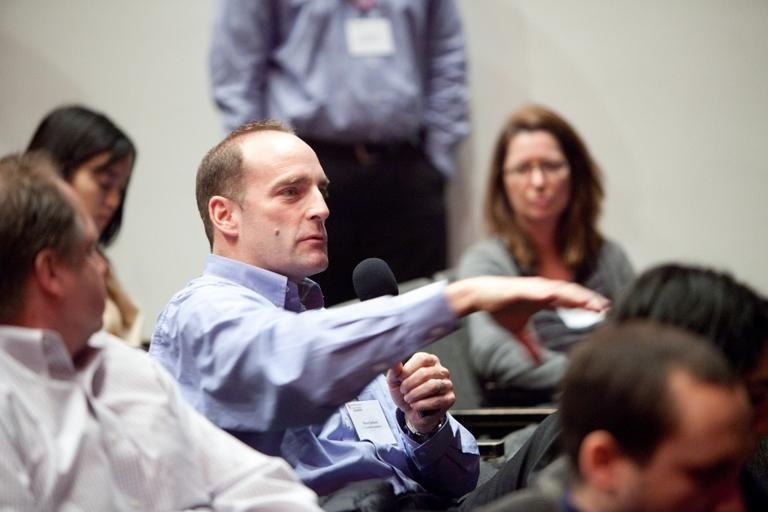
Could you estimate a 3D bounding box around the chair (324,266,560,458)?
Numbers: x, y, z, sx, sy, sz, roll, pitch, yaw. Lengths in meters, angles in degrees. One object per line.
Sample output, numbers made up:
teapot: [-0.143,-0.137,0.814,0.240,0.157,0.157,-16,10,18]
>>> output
chair: [0.219,0.289,2.158,0.623,0.760,0.610,-4,0,16]

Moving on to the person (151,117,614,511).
person: [-0.049,0.183,2.046,1.090,1.063,0.801,-19,-14,14]

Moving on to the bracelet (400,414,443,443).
bracelet: [0.099,0.452,1.901,0.076,0.086,0.037,0,-9,11]

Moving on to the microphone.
microphone: [0.021,0.177,1.840,0.128,0.479,0.133,-14,-5,3]

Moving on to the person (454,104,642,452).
person: [0.506,0.138,2.304,0.613,1.156,0.636,-4,6,17]
